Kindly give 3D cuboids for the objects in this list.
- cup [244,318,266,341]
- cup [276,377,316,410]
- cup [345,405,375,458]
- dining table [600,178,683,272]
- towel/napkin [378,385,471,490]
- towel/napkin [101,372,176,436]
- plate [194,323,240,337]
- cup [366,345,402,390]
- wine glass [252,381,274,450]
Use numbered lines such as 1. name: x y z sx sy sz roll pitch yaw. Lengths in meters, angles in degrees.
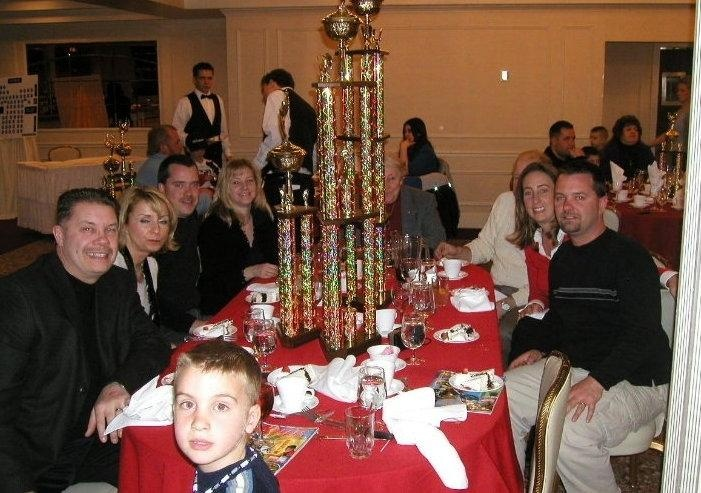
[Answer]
1. cup: -0.440 0.371 2.781 0.099 0.119 0.102 1 -3 0
2. cup: -0.219 0.580 2.454 0.144 0.111 0.120 3 10 9
3. cup: 0.045 0.682 2.236 0.118 0.181 0.117 1 -16 0
4. dining table: 2.172 -0.161 4.527 0.635 0.484 0.646 -7 21 -13
5. towel/napkin: 0.276 0.714 2.303 0.322 0.294 0.322 1 9 9
6. towel/napkin: -0.795 0.635 2.410 0.203 0.284 0.100 36 -6 34
7. plate: -0.666 0.408 2.999 0.149 0.041 0.086 6 25 0
8. cup: 0.137 0.510 2.592 0.137 0.127 0.148 -1 7 0
9. wine glass: -0.328 0.625 2.266 0.084 0.201 0.179 -3 9 -9
